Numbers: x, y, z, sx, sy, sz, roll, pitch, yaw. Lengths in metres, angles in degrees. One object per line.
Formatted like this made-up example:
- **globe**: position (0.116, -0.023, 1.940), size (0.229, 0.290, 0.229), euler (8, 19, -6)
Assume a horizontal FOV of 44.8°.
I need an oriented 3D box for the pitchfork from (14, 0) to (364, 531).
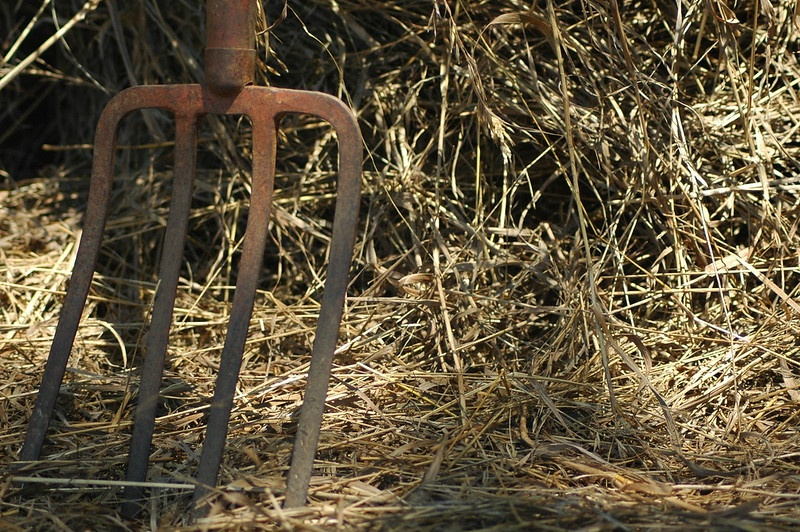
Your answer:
- **pitchfork**: position (-0.437, -0.049, 2.157), size (0.646, 0.947, 0.710), euler (7, 30, 16)
